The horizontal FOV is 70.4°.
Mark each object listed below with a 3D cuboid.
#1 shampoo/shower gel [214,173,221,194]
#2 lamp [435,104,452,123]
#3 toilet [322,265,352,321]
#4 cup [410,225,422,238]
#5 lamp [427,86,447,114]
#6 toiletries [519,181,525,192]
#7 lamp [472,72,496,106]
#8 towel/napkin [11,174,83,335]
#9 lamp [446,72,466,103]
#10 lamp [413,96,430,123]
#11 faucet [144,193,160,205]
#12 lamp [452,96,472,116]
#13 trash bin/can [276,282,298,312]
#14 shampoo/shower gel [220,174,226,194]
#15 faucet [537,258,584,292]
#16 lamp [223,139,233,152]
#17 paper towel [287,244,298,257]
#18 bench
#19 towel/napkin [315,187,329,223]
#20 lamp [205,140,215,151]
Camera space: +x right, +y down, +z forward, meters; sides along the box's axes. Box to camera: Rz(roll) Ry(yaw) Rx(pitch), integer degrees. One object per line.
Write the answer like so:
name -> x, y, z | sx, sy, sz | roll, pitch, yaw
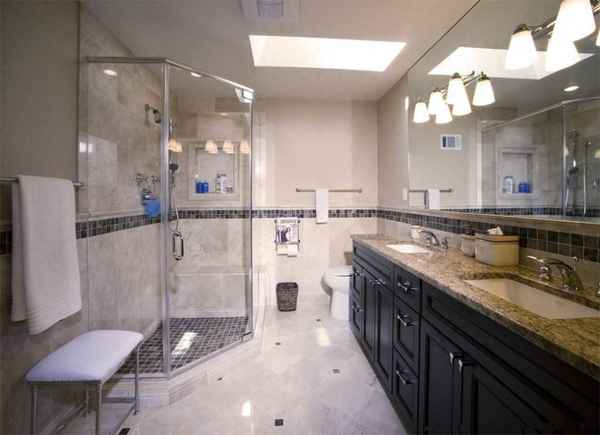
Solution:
shampoo/shower gel -> -0.723, -0.300, 3.732 | 0.056, 0.169, 0.015 | -4, 5, -43
lamp -> 1.173, -0.845, 3.470 | 0.121, 0.134, 0.125 | -2, 26, 28
toilet -> 0.390, 0.792, 4.445 | 0.279, 0.522, 0.421 | 0, 4, 5
cup -> 1.041, 0.131, 3.852 | 0.095, 0.096, 0.085 | 2, 2, 6
lamp -> 1.132, -0.971, 3.535 | 0.172, 0.230, 0.161 | -27, 23, -39
toiletries -> 1.468, -0.202, 2.821 | 0.048, 0.087, 0.048 | -4, 6, -23
lamp -> 1.312, -0.921, 3.058 | 0.175, 0.237, 0.178 | -13, 14, 11
towel/napkin -> -1.671, 0.227, 2.796 | 0.130, 0.993, 0.416 | 1, 4, 26
lamp -> 1.195, -0.990, 3.265 | 0.176, 0.242, 0.182 | 2, 17, 25
lamp -> 1.068, -0.950, 3.751 | 0.169, 0.230, 0.172 | 7, 19, 43
faucet -> -1.168, -0.137, 3.355 | 0.105, 0.107, 0.068 | 0, 5, 6
lamp -> 1.236, -0.846, 3.255 | 0.119, 0.129, 0.120 | -26, 33, -15
trash bin/can -> -0.148, 0.881, 4.741 | 0.235, 0.269, 0.260 | -1, 4, -3
shampoo/shower gel -> -0.678, -0.306, 3.773 | 0.021, 0.176, 0.065 | 3, 5, 44
faucet -> 1.508, 0.321, 2.512 | 0.115, 0.215, 0.325 | -6, 7, -10
lamp -> -0.644, -0.639, 3.758 | 0.067, 0.068, 0.090 | 0, 4, 0
paper towel -> -0.088, 0.364, 4.811 | 0.192, 0.136, 0.109 | -1, 6, -3
bench -> -1.380, 0.921, 2.943 | 0.584, 0.755, 0.758 | 2, 3, -3
towel/napkin -> 0.244, -0.133, 4.859 | 0.135, 0.389, 0.047 | 0, 4, 2
lamp -> -0.774, -0.623, 3.682 | 0.080, 0.083, 0.082 | 16, 34, 34
